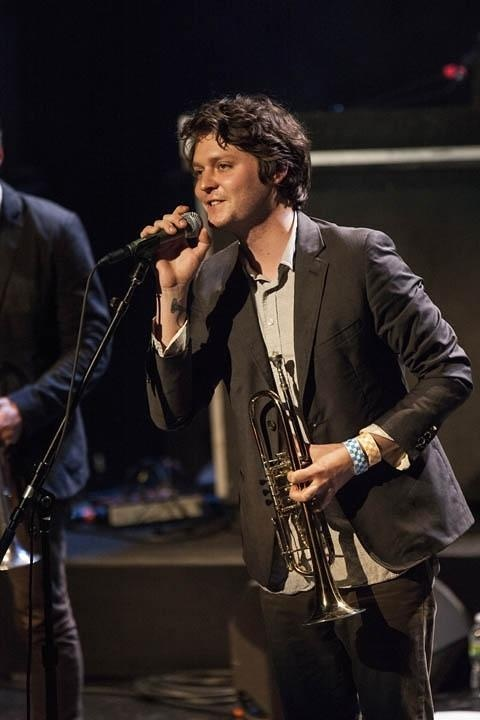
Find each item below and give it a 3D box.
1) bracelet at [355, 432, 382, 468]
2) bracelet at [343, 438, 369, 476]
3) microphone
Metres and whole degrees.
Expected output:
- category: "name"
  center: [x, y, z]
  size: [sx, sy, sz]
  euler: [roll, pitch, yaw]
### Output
- category: "bracelet"
  center: [0.297, 0.207, 1.774]
  size: [0.053, 0.099, 0.086]
  euler: [0, 12, 8]
- category: "bracelet"
  center: [0.261, 0.216, 1.738]
  size: [0.040, 0.073, 0.067]
  euler: [-20, 35, 1]
- category: "microphone"
  center: [-0.157, -0.285, 1.816]
  size: [0.312, 0.080, 0.091]
  euler: [-24, 43, -35]
